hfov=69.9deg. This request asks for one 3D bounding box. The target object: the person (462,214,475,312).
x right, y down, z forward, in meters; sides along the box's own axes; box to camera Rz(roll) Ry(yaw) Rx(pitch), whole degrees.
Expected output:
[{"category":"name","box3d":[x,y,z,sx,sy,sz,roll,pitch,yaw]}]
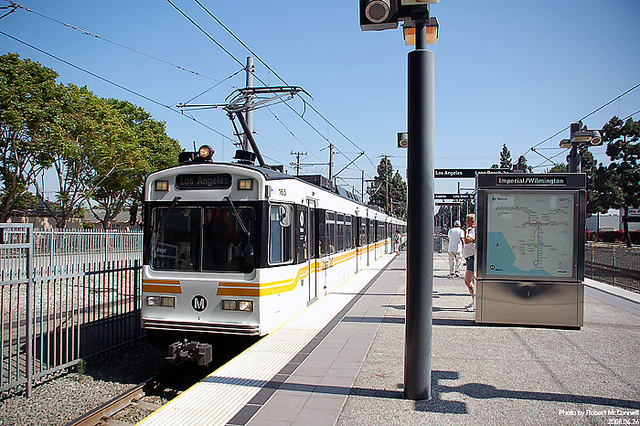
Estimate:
[{"category":"person","box3d":[3.904,1.058,11.997,0.274,2.074,1.062,2,8,17]}]

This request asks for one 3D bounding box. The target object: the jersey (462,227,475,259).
[{"category":"jersey","box3d":[3.901,0.816,12.021,0.228,0.721,0.745,2,8,14]}]

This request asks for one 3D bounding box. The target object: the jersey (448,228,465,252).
[{"category":"jersey","box3d":[4.884,0.956,16.400,0.881,0.964,0.483,0,-2,28]}]
